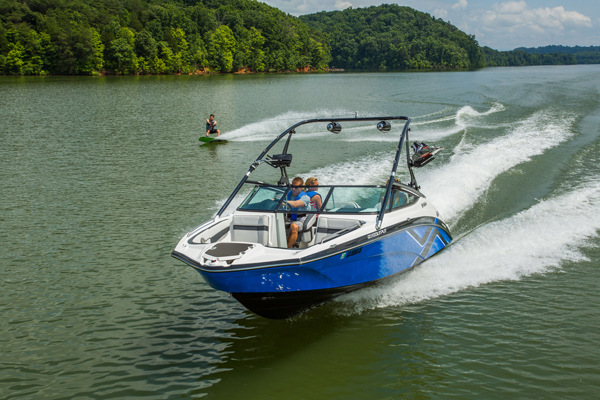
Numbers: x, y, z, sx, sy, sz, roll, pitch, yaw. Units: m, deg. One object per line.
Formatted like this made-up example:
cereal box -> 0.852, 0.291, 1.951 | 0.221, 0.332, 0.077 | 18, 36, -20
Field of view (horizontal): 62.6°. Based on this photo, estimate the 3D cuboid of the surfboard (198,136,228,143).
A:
surfboard -> -4.580, -3.129, 25.799 | 0.396, 0.273, 1.729 | -9, -4, 34

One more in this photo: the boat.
boat -> 0.347, 0.353, 10.721 | 5.270, 3.903, 2.861 | -21, 36, -36

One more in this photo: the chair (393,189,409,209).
chair -> 2.333, -0.006, 11.595 | 0.457, 0.477, 0.421 | 9, 55, 3
